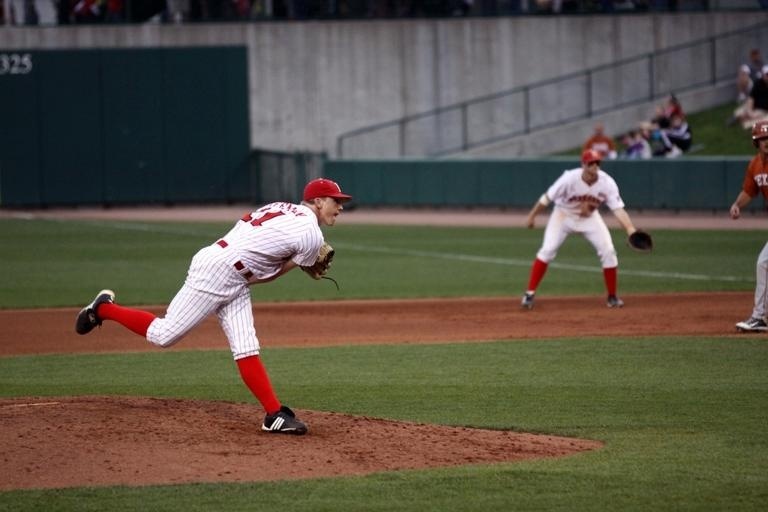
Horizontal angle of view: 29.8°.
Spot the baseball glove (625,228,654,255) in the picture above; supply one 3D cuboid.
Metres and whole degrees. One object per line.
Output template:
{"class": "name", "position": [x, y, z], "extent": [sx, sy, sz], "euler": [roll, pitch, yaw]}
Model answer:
{"class": "baseball glove", "position": [3.899, -0.241, 21.988], "extent": [0.414, 0.339, 0.218], "euler": [-2, 8, -13]}

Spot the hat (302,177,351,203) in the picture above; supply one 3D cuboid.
{"class": "hat", "position": [-0.787, -0.885, 19.342], "extent": [0.602, 0.273, 0.370], "euler": [-5, 4, 0]}

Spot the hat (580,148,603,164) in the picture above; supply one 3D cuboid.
{"class": "hat", "position": [3.174, -1.529, 22.110], "extent": [0.240, 0.227, 0.295], "euler": [-2, -10, -10]}

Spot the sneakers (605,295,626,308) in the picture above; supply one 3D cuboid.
{"class": "sneakers", "position": [3.631, 0.698, 22.601], "extent": [0.245, 0.162, 0.151], "euler": [3, 1, -33]}

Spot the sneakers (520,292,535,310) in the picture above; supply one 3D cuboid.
{"class": "sneakers", "position": [2.250, 0.652, 22.678], "extent": [0.130, 0.145, 0.348], "euler": [5, 13, 9]}
